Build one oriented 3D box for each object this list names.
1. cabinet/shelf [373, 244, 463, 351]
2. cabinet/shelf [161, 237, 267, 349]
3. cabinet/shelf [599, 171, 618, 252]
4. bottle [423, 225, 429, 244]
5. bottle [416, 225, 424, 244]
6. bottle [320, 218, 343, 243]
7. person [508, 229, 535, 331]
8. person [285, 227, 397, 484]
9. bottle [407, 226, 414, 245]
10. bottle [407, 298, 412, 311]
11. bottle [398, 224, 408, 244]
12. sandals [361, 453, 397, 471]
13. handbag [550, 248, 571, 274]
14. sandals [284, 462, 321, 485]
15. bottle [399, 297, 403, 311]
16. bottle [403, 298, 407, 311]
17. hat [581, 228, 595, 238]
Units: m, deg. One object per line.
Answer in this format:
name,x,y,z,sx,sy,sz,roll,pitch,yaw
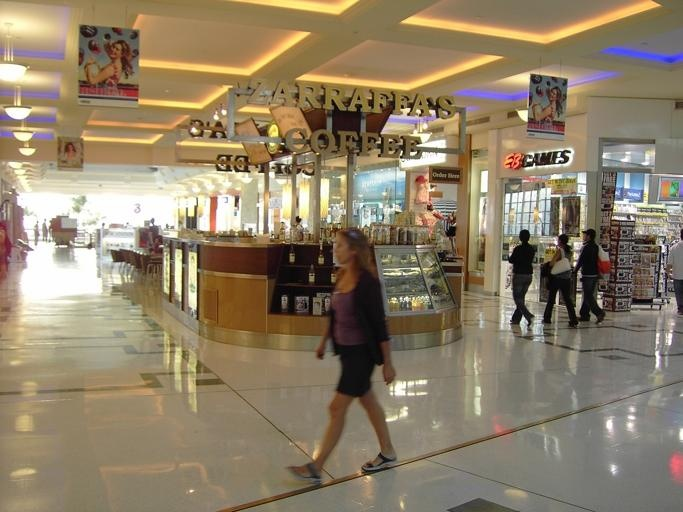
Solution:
cabinet/shelf,1.042,0.557,7.702,1.772,1.481,0.951,-1,13,-26
cabinet/shelf,-2.250,0.455,8.829,1.334,1.411,3.748,-2,9,-38
cabinet/shelf,5.906,-1.329,11.203,0.262,1.280,0.195,10,-10,-2
bottle,1.361,-0.348,8.101,0.066,0.278,0.335,2,6,20
bottle,1.261,-0.340,7.927,0.127,0.275,0.403,2,6,19
bottle,-0.116,-0.413,8.021,0.409,0.446,0.485,-1,4,-15
person,3.362,0.399,9.365,0.435,1.788,0.719,2,6,21
person,0.062,0.674,3.447,0.639,1.714,0.371,0,6,2
bottle,1.046,-0.323,7.686,0.097,0.254,0.049,-2,6,-17
bottle,1.000,0.707,7.362,0.080,0.164,0.041,-4,7,-34
bottle,0.936,-0.328,7.670,0.149,0.262,0.086,0,6,-1
sandals,0.262,1.478,3.620,0.259,0.100,0.109,0,0,-21
handbag,4.159,0.109,9.493,0.390,0.454,0.263,-5,7,-37
sandals,-0.241,1.451,3.418,0.265,0.107,0.099,17,-5,1
bottle,0.888,0.687,7.309,0.092,0.194,0.034,-3,6,-26
bottle,0.943,0.699,7.337,0.093,0.172,0.038,-6,8,-44
hat,4.950,-0.474,10.071,0.254,0.127,0.187,32,27,34
